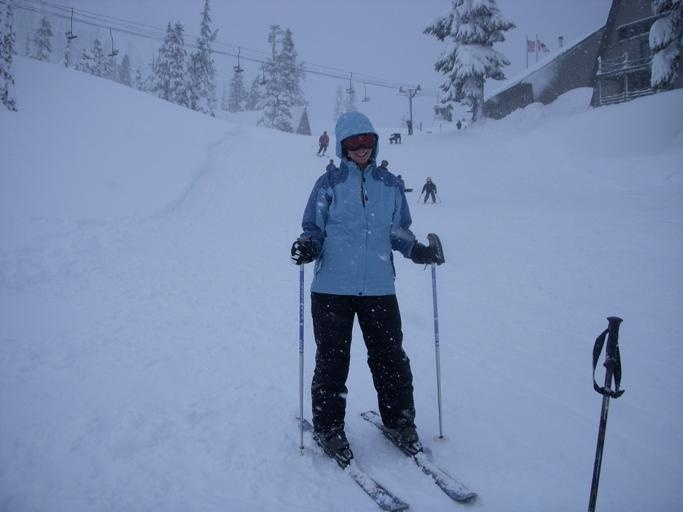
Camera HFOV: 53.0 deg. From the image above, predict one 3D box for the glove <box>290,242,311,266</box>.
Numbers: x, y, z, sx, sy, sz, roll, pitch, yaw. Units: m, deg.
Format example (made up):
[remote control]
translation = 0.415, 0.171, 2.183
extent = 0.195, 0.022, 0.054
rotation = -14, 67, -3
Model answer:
[glove]
translation = -0.642, -0.066, 11.429
extent = 0.398, 0.407, 0.245
rotation = 4, -7, -3

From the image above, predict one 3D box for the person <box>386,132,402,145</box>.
[person]
translation = 2.701, -6.117, 35.746
extent = 0.419, 0.966, 1.645
rotation = 0, 9, 9
